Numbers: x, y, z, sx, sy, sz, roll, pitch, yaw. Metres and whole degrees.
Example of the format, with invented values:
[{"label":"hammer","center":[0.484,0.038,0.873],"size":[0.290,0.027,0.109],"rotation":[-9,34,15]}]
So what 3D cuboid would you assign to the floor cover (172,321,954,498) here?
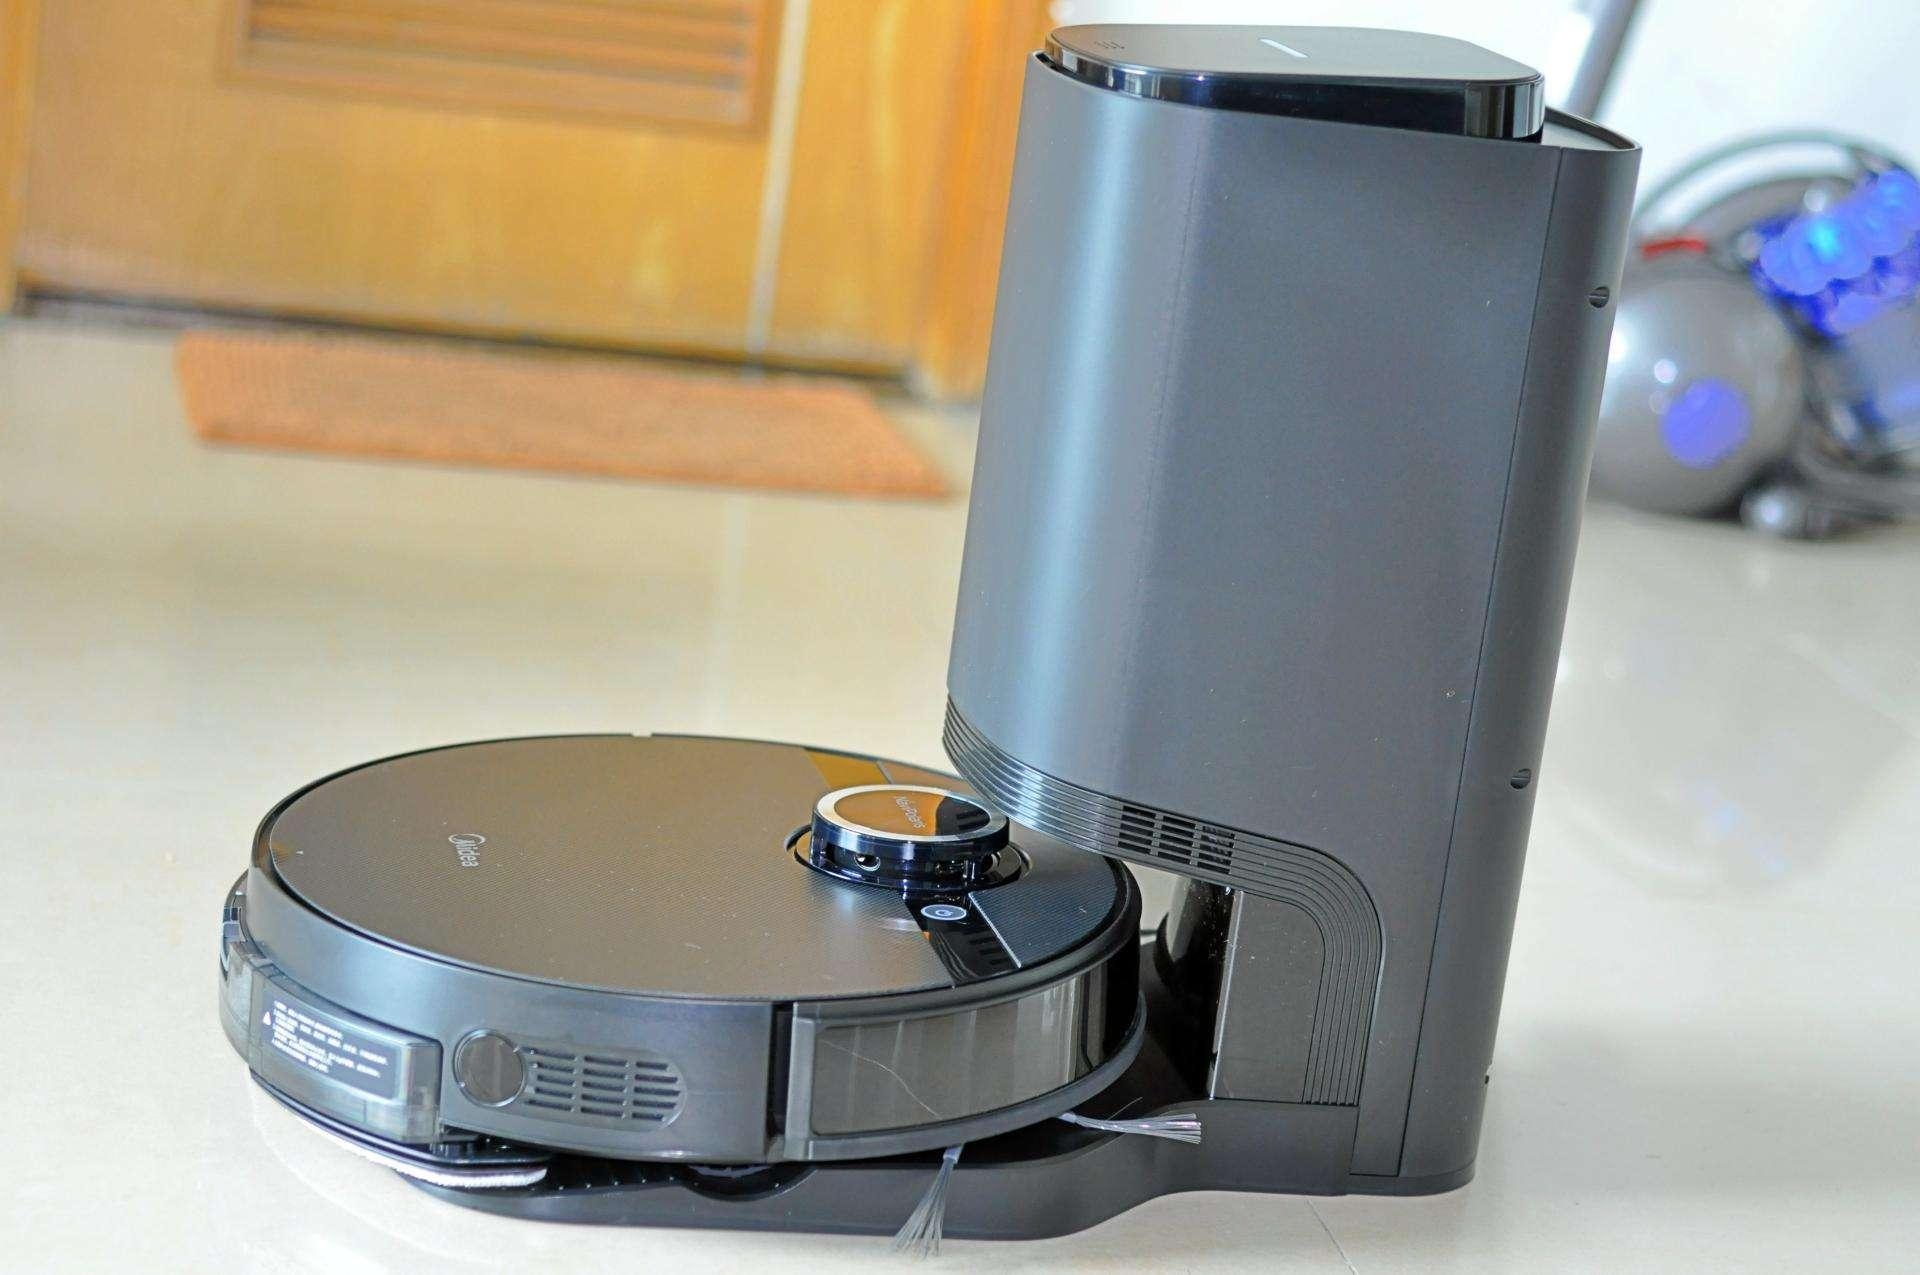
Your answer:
[{"label":"floor cover","center":[-0.494,-0.272,2.225],"size":[0.827,0.042,0.422],"rotation":[-2,-11,-12]}]

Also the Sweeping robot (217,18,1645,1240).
[{"label":"Sweeping robot","center":[-0.038,-0.005,1.031],"size":[0.715,0.588,0.435],"rotation":[4,12,-10]}]
